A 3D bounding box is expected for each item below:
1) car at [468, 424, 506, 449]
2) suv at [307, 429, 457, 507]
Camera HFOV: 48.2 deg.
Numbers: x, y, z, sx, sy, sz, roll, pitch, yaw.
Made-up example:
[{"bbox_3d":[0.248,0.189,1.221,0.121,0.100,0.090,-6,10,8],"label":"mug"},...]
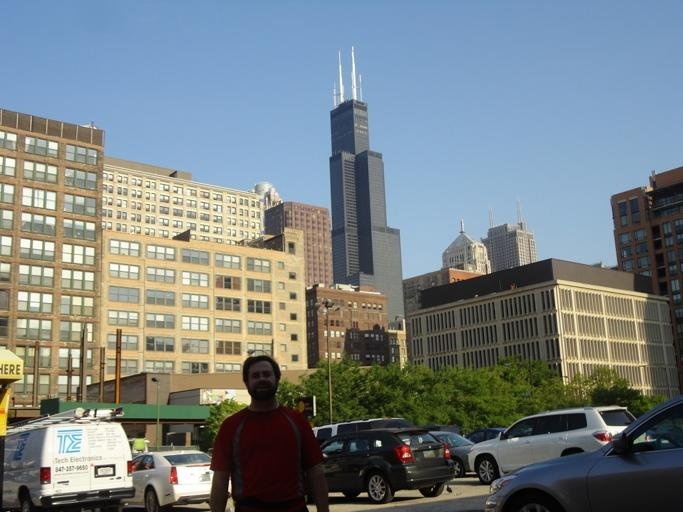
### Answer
[{"bbox_3d":[5.064,6.394,27.227,0.906,0.620,1.842,5,-22,-36],"label":"car"},{"bbox_3d":[1.081,5.522,20.038,3.086,1.872,1.250,-12,-19,25],"label":"suv"}]
